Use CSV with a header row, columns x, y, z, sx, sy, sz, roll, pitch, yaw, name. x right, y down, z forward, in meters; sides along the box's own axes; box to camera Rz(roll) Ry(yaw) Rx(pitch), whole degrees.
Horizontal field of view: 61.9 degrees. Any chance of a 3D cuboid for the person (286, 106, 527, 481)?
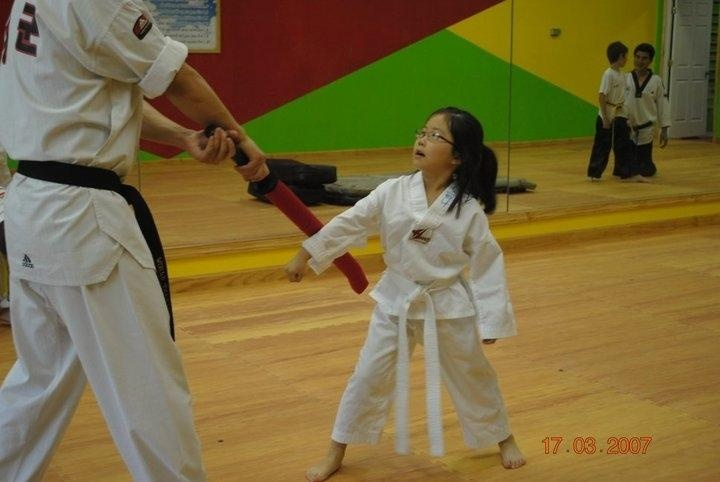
x,y,z,sx,sy,sz,roll,pitch,yaw,name
0.174,0.184,2.009,0.737,1.192,0.384,-3,17,-7,person
